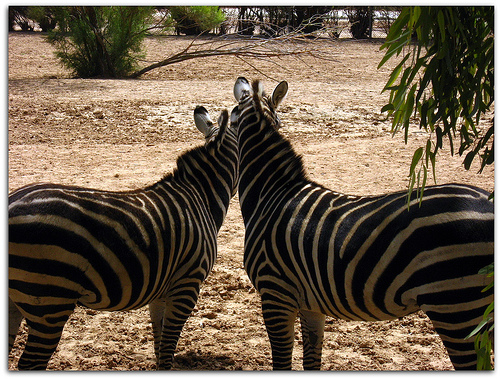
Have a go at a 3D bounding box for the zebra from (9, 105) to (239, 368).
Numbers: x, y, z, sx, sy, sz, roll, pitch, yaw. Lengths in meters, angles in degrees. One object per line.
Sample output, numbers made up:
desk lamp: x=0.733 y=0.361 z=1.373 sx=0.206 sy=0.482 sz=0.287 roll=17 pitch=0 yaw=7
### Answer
zebra: x=-0.958 y=0.444 z=6.160 sx=0.755 sy=2.060 sz=1.936 roll=11 pitch=15 yaw=43
